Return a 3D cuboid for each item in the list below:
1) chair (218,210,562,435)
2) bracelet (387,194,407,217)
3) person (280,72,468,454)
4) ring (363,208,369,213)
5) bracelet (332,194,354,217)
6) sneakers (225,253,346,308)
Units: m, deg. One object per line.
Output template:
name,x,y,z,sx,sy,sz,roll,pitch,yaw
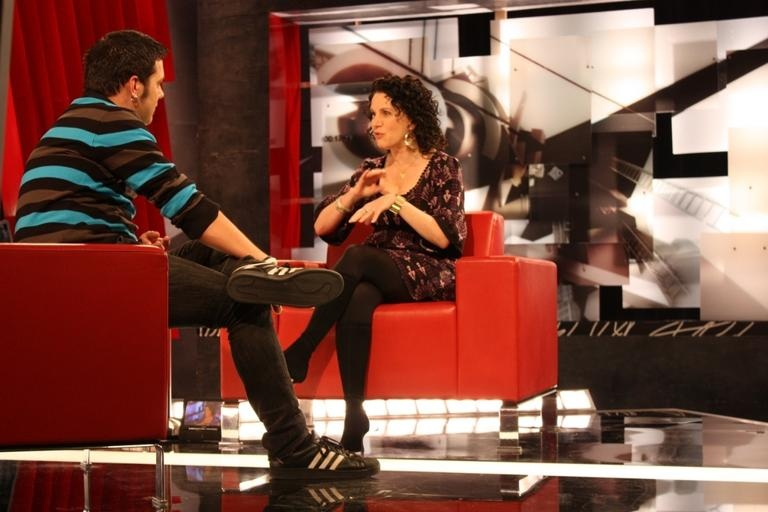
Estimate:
chair,0.051,0.234,3.472,1.457,0.874,0.779,-3,-2,26
bracelet,0.055,-0.218,3.143,0.060,0.085,0.090,30,-7,-2
person,-0.027,-0.004,3.233,0.749,1.673,0.945,0,-2,28
ring,-0.076,-0.199,3.063,0.024,0.021,0.006,1,-10,28
bracelet,-0.189,-0.238,3.328,0.087,0.062,0.108,8,-3,-12
sneakers,-0.337,0.089,2.432,0.388,0.173,0.144,0,-1,-3
